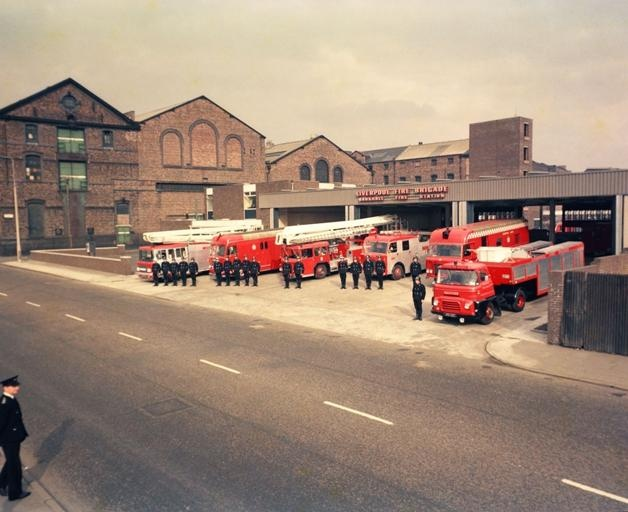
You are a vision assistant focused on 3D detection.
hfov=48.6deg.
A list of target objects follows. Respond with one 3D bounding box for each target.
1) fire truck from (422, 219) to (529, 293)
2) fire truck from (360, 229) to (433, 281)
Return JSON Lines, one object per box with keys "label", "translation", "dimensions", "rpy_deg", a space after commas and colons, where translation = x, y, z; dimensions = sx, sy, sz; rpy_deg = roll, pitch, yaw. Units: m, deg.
{"label": "fire truck", "translation": [8.192, 0.471, 35.523], "dimensions": [5.201, 4.057, 6.064], "rpy_deg": [6, 11, 35]}
{"label": "fire truck", "translation": [5.021, -0.017, 39.498], "dimensions": [2.025, 2.494, 5.165], "rpy_deg": [1, 5, 44]}
